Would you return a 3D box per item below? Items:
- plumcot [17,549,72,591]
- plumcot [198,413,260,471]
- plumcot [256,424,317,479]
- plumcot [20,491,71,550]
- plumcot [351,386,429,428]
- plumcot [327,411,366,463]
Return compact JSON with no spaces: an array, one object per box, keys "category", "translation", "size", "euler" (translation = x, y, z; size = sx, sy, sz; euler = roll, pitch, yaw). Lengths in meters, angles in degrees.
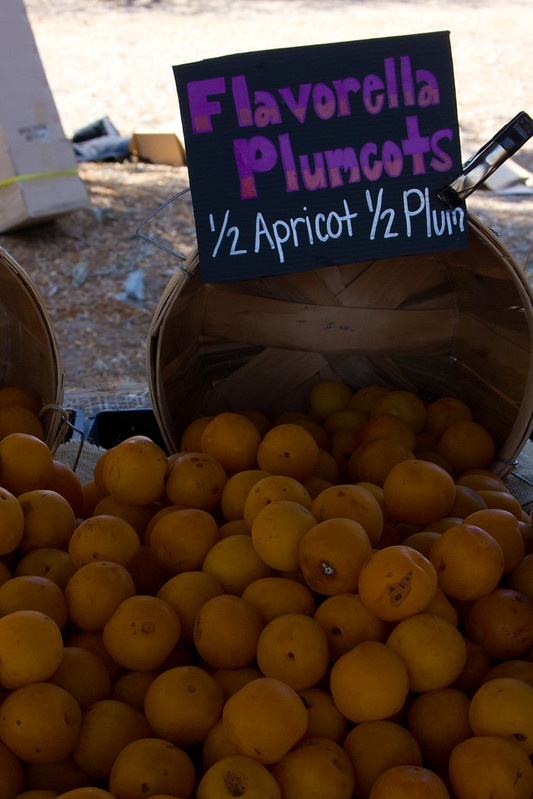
[{"category":"plumcot","translation":[-0.322,0.241,0.990],"size":[0.062,0.056,0.060],"euler":[-2,3,-5]},{"category":"plumcot","translation":[-0.063,0.078,1.236],"size":[0.099,0.103,0.117],"euler":[7,-9,8]},{"category":"plumcot","translation":[0.041,0.091,1.201],"size":[0.093,0.105,0.097],"euler":[-5,26,-12]},{"category":"plumcot","translation":[-0.336,0.197,1.067],"size":[0.082,0.091,0.078],"euler":[2,-10,-3]},{"category":"plumcot","translation":[0.300,0.014,1.657],"size":[0.089,0.077,0.141],"euler":[2,8,-39]},{"category":"plumcot","translation":[0.182,0.092,1.556],"size":[0.060,0.102,0.081],"euler":[17,17,-24]}]
